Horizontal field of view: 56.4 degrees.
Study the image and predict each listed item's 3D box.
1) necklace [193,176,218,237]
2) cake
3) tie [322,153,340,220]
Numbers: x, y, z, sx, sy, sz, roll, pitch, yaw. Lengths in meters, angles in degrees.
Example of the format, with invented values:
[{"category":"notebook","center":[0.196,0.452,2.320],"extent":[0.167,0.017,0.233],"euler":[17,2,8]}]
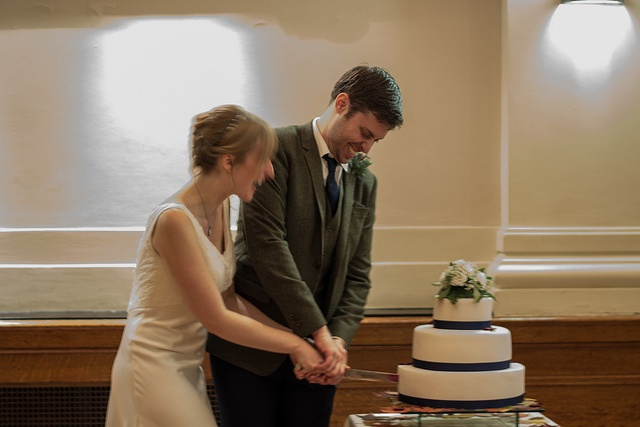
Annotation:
[{"category":"necklace","center":[-0.633,-0.014,3.097],"extent":[0.064,0.241,0.257],"euler":[-14,-31,-9]},{"category":"cake","center":[0.822,0.786,3.509],"extent":[0.725,0.569,0.710],"euler":[2,-1,-24]},{"category":"tie","center":[0.063,-0.136,3.332],"extent":[0.098,0.325,0.040],"euler":[7,-7,-12]}]
